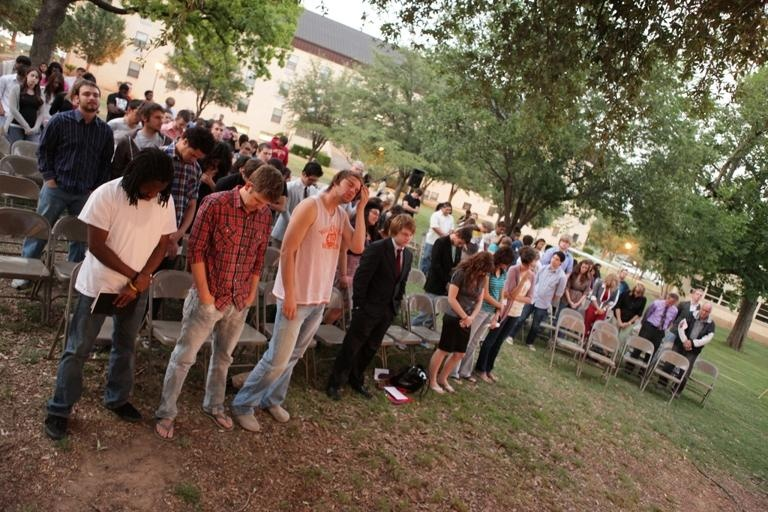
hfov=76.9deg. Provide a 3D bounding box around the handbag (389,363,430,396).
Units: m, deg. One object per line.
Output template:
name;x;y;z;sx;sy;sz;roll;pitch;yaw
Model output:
handbag;0.411;1.949;7.615;0.497;0.245;0.388;4;5;-35

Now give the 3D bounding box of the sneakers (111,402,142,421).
sneakers;-2.877;1.746;5.452;0.328;0.137;0.169;20;22;-6

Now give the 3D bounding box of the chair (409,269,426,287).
chair;0.673;0.464;9.981;0.335;0.305;0.388;1;2;0

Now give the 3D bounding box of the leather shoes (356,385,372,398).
leather shoes;-0.300;2.006;7.148;0.210;0.115;0.198;14;10;-31

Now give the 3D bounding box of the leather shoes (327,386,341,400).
leather shoes;-0.712;1.942;6.842;0.221;0.228;0.117;-4;-4;39

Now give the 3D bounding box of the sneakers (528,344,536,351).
sneakers;3.619;2.255;11.854;0.103;0.096;0.232;-2;-6;-13

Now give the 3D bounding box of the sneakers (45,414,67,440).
sneakers;-3.434;1.783;5.062;0.222;0.221;0.197;12;10;-33

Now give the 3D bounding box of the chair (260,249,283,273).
chair;-1.636;0.067;6.988;0.281;0.383;0.263;-3;17;-29

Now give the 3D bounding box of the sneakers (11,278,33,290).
sneakers;-5.106;0.405;6.807;0.115;0.093;0.123;-30;3;-31

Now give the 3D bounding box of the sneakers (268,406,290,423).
sneakers;-1.345;2.003;6.171;0.286;0.122;0.155;6;21;44

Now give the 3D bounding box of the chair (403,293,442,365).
chair;0.684;1.151;8.811;0.736;1.331;1.025;1;-1;-19
